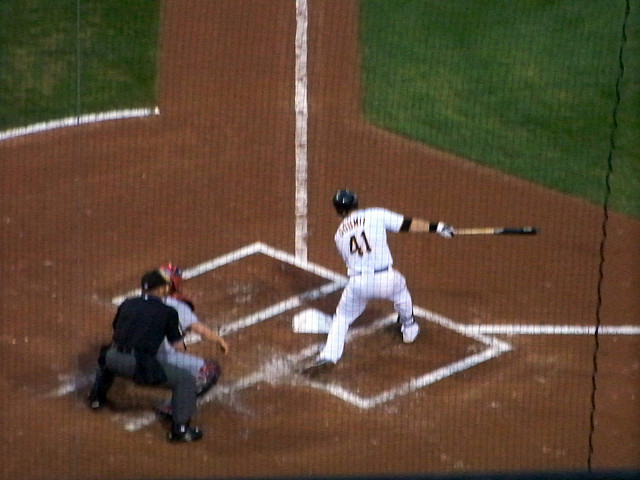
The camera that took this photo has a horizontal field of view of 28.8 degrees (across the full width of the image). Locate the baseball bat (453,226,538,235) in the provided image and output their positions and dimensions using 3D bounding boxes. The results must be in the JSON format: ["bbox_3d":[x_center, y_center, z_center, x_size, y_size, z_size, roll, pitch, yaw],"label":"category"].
[{"bbox_3d":[2.477,-0.126,17.381,1.005,0.093,0.130,-1,2,6],"label":"baseball bat"}]

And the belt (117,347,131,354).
[{"bbox_3d":[-2.582,1.451,16.391,0.136,0.073,0.035,4,11,16],"label":"belt"}]
